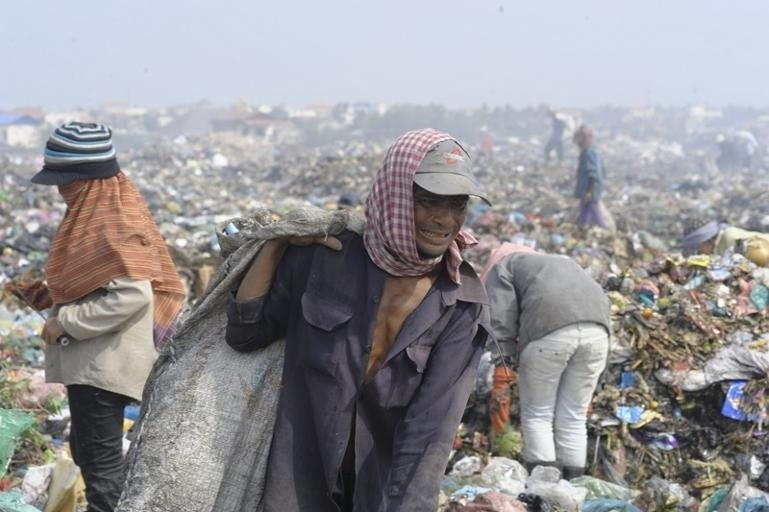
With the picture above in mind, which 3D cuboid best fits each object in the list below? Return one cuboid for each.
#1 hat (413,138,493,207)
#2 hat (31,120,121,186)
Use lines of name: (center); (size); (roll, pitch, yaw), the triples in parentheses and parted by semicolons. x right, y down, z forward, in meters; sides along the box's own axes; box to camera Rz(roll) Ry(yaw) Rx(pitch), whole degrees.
hat: (0.485, -0.650, 7.782); (0.446, 0.306, 0.586); (-5, 21, -35)
hat: (-2.554, -0.878, 8.439); (0.472, 0.374, 0.647); (18, 20, 41)
